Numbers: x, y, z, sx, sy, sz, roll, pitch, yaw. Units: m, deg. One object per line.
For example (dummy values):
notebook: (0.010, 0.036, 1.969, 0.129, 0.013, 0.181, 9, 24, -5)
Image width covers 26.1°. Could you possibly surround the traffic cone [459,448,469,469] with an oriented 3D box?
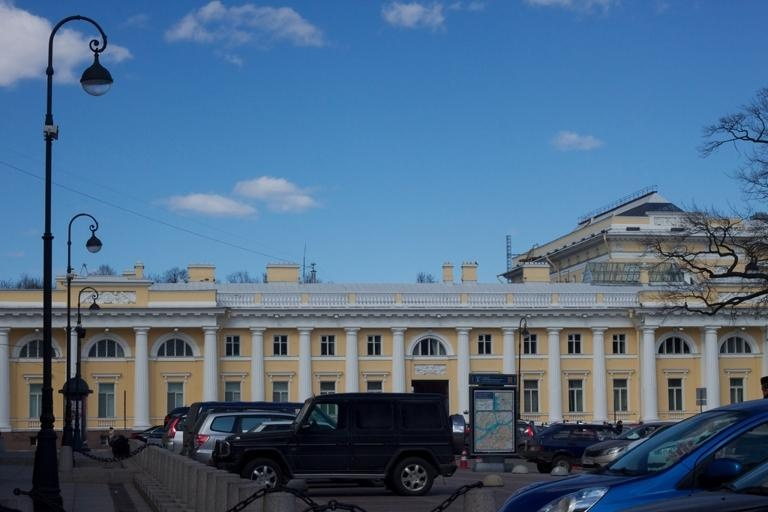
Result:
traffic cone: (4.565, 11.376, 94.527, 0.905, 1.083, 0.840, 1, -11, -3)
